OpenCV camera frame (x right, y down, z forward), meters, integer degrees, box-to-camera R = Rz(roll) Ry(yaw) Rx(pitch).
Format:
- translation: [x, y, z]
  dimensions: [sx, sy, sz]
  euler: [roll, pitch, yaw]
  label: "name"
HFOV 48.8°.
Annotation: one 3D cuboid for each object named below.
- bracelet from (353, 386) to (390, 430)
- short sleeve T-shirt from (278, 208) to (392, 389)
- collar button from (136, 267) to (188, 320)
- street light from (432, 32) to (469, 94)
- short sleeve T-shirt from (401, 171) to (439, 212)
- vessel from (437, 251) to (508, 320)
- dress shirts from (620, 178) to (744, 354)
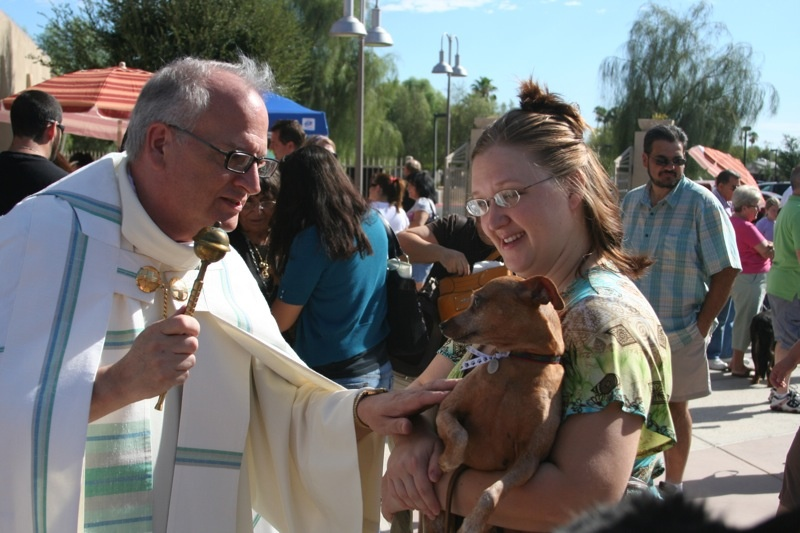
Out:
- translation: [-0.192, 0.744, 4.805]
  dimensions: [0.155, 0.230, 0.060]
  euler: [-13, 2, 2]
  label: "bracelet"
- translation: [-0.576, 0.227, 6.496]
  dimensions: [0.465, 1.097, 0.917]
  euler: [-12, -3, 8]
  label: "short sleeve T-shirt"
- translation: [-1.281, 0.143, 4.696]
  dimensions: [0.053, 0.214, 0.212]
  euler: [-6, -18, 37]
  label: "collar button"
- translation: [1.115, -4.707, 20.172]
  dimensions: [0.752, 1.193, 0.367]
  euler: [14, 19, 33]
  label: "street light"
- translation: [0.258, -1.042, 11.880]
  dimensions: [0.482, 0.778, 0.511]
  euler: [-1, 1, 7]
  label: "short sleeve T-shirt"
- translation: [0.494, 0.156, 6.652]
  dimensions: [0.561, 0.201, 0.446]
  euler: [-30, 13, 12]
  label: "vessel"
- translation: [2.216, -0.146, 7.436]
  dimensions: [1.228, 1.346, 0.532]
  euler: [15, 27, 40]
  label: "dress shirts"
